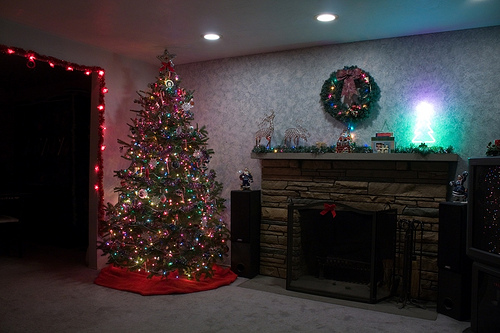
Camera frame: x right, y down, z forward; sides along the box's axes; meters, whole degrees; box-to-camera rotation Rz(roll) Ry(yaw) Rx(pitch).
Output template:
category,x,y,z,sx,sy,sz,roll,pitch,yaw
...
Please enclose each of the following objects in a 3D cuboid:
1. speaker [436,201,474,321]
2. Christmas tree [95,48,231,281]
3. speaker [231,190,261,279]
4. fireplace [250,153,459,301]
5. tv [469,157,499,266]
category,x,y,z,sx,sy,sz,roll,pitch,yaw
speaker,2.294,1.043,4.079,0.370,1.239,0.347,3,10,20
Christmas tree,-1.235,-0.009,5.102,1.492,2.932,1.131,0,11,-15
speaker,-0.063,0.925,5.052,0.502,1.035,0.539,1,0,23
fireplace,1.297,0.783,4.769,2.659,1.735,1.466,5,7,16
tv,2.379,0.384,3.701,0.359,0.953,0.159,9,13,43
